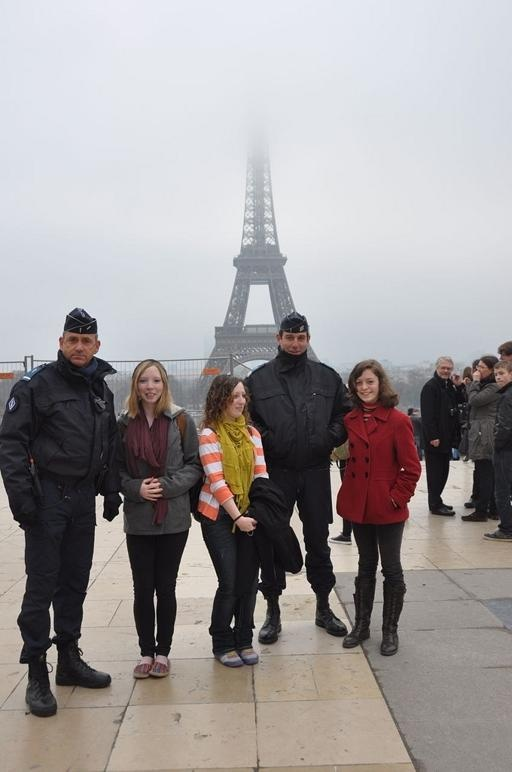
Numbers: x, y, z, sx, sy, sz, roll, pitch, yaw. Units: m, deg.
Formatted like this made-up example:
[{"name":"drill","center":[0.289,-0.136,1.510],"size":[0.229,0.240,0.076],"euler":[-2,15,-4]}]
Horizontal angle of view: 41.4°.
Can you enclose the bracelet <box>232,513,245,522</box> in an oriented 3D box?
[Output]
[{"name":"bracelet","center":[-0.094,0.678,3.520],"size":[0.040,0.052,0.013],"euler":[16,8,-9]}]

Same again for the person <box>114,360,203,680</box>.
[{"name":"person","center":[-0.504,0.679,3.593],"size":[0.428,1.537,0.303],"euler":[-1,0,-11]}]

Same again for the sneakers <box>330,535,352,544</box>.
[{"name":"sneakers","center":[0.840,1.506,6.703],"size":[0.209,0.088,0.083],"euler":[0,-9,33]}]

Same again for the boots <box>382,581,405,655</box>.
[{"name":"boots","center":[0.769,1.281,3.853],"size":[0.135,0.417,0.324],"euler":[-1,0,12]}]

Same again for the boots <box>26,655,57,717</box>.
[{"name":"boots","center":[-1.022,1.397,3.201],"size":[0.116,0.235,0.328],"euler":[-1,1,-27]}]

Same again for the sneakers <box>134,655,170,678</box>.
[{"name":"sneakers","center":[-0.545,1.454,3.523],"size":[0.185,0.099,0.125],"euler":[-1,0,-6]}]

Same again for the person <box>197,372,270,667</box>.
[{"name":"person","center":[-0.112,0.715,3.676],"size":[0.401,1.485,0.382],"euler":[-1,0,-17]}]

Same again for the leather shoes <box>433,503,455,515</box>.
[{"name":"leather shoes","center":[2.212,1.438,7.899],"size":[0.283,0.114,0.104],"euler":[-4,-4,26]}]

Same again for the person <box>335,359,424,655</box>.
[{"name":"person","center":[0.695,0.666,3.909],"size":[0.499,1.660,0.385],"euler":[-1,0,21]}]

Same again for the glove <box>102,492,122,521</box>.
[{"name":"glove","center":[-0.751,0.619,3.499],"size":[0.107,0.132,0.131],"euler":[2,0,-14]}]
